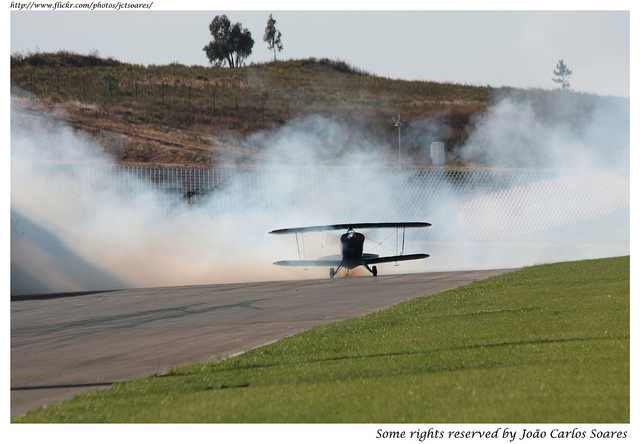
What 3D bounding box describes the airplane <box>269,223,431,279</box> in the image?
[{"bbox_3d":[1.611,2.096,77.121,5.522,3.715,13.664,0,0,-36],"label":"airplane"}]
